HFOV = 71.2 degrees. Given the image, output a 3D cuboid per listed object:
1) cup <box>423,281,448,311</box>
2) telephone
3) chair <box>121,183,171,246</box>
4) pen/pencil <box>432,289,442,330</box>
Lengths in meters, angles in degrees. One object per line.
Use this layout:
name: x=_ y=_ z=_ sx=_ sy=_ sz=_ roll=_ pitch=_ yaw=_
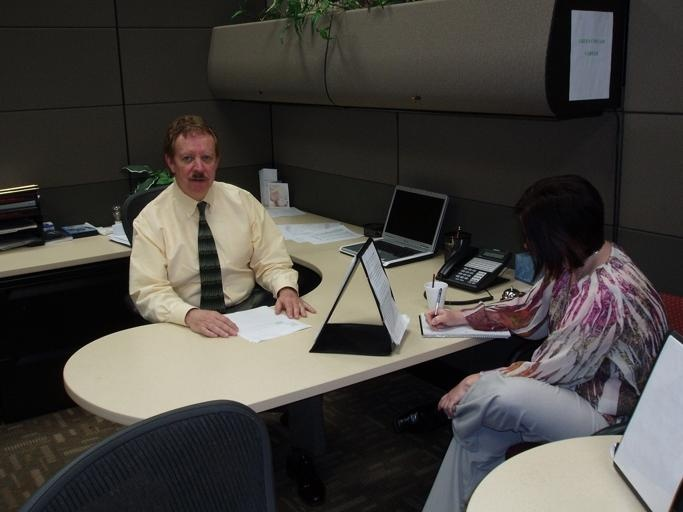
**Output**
cup: x=0.398 y=0.173 z=2.085 sx=0.104 sy=0.119 sz=0.115 roll=-1 pitch=10 yaw=0
telephone: x=0.673 y=0.067 z=2.396 sx=0.301 sy=0.128 sz=0.280 roll=-19 pitch=20 yaw=-31
chair: x=-1.085 y=-0.262 z=2.750 sx=0.272 sy=0.394 sz=0.306 roll=-12 pitch=22 yaw=-36
pen/pencil: x=0.402 y=0.233 z=1.986 sx=0.022 sy=0.024 sz=0.159 roll=12 pitch=52 yaw=7
